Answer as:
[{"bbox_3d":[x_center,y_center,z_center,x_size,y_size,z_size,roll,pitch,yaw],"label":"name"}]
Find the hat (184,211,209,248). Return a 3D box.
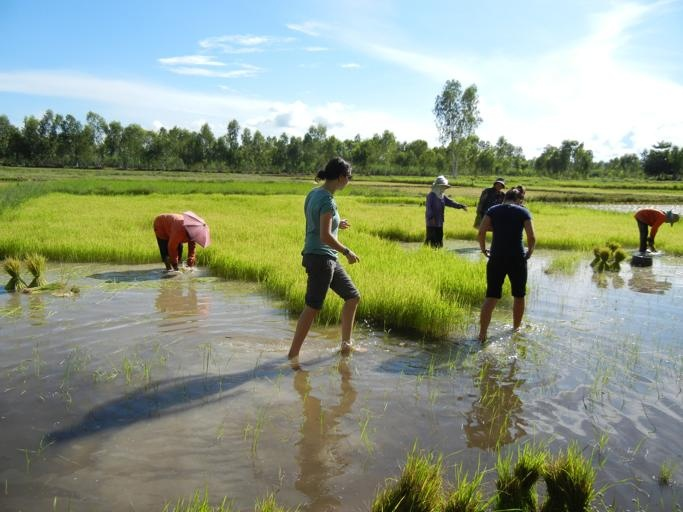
[{"bbox_3d":[-2.750,-0.554,10.796,0.201,0.642,0.601,-29,-17,27],"label":"hat"}]

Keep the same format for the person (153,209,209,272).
[{"bbox_3d":[-3.242,-0.294,11.441,1.201,1.446,0.625,17,23,20],"label":"person"}]

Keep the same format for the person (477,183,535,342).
[{"bbox_3d":[2.462,0.086,8.522,0.809,2.195,0.909,2,8,0],"label":"person"}]

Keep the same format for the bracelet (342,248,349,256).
[{"bbox_3d":[0.058,-0.052,7.015,0.081,0.101,0.060,3,5,-9],"label":"bracelet"}]

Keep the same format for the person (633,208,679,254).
[{"bbox_3d":[8.025,-0.650,14.659,0.782,1.226,2.818,6,10,28],"label":"person"}]

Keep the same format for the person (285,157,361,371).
[{"bbox_3d":[-0.136,0.053,7.347,0.844,2.626,0.831,6,9,30],"label":"person"}]

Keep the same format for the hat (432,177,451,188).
[{"bbox_3d":[2.230,-1.665,12.680,0.458,0.255,0.490,2,3,9],"label":"hat"}]

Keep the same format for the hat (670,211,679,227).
[{"bbox_3d":[7.771,-0.922,13.286,0.206,0.263,0.440,9,11,39],"label":"hat"}]
